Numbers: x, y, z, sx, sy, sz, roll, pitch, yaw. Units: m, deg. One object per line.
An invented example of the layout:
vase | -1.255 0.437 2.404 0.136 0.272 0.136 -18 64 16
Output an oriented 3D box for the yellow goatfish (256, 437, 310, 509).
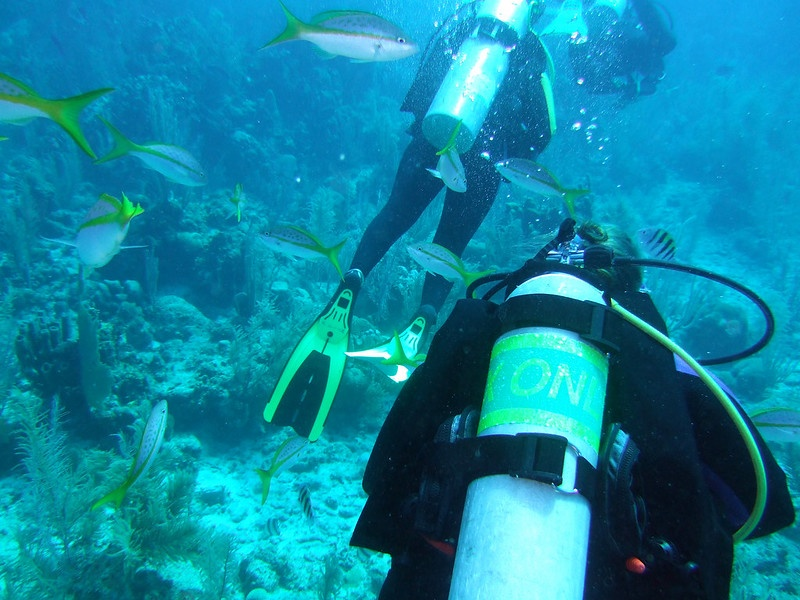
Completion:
yellow goatfish | -2.386 3.344 13.902 0.918 1.232 0.562 -10 -39 32

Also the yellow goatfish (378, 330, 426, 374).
yellow goatfish | 0.049 1.117 14.463 0.800 0.319 0.859 11 -45 23

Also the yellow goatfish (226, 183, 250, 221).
yellow goatfish | -3.960 -2.572 17.020 0.396 1.518 0.335 -10 -37 1
